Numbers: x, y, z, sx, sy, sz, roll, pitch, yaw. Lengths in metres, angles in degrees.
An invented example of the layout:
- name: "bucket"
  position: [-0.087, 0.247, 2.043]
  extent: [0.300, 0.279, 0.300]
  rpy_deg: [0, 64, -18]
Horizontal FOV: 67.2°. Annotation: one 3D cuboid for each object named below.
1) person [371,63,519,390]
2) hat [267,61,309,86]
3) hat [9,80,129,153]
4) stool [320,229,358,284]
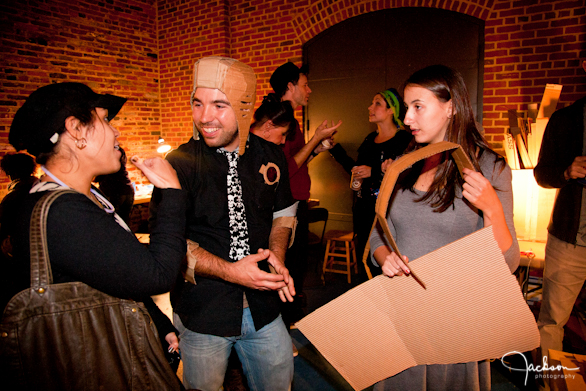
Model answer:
- name: "person"
  position: [0.763, 0.218, 2.318]
  extent: [0.477, 1.762, 0.697]
  rpy_deg: [-9, 18, -43]
- name: "hat"
  position: [-0.040, -1.094, 4.071]
  extent: [0.336, 0.301, 0.246]
  rpy_deg: [-3, 9, 5]
- name: "hat"
  position: [-1.044, -0.369, 2.059]
  extent: [0.422, 0.180, 0.303]
  rpy_deg: [-37, 3, -29]
- name: "stool"
  position: [0.541, 0.691, 5.163]
  extent: [0.515, 0.681, 0.526]
  rpy_deg: [1, 2, 11]
